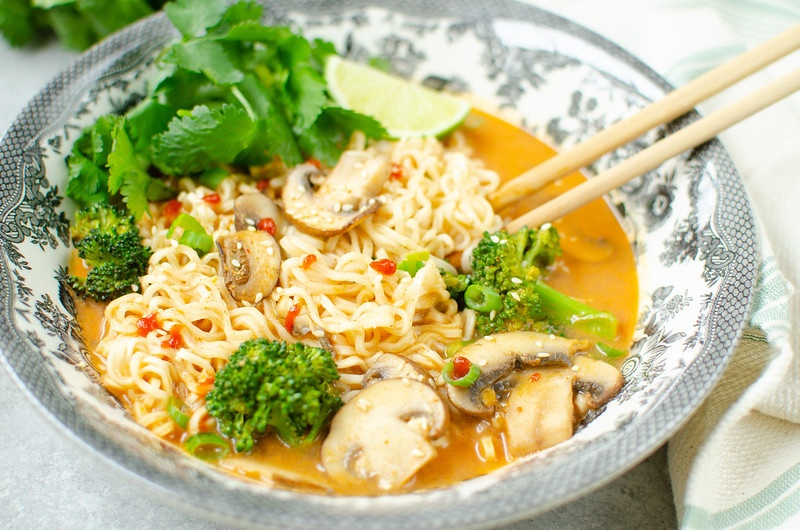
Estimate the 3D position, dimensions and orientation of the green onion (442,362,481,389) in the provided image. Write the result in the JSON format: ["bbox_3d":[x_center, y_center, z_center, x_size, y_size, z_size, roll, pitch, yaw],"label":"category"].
[{"bbox_3d":[0.437,0.766,4.811,0.195,0.201,0.074,31,67,12],"label":"green onion"}]

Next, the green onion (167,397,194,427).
[{"bbox_3d":[-1.523,1.024,4.746,0.044,0.185,0.183,-32,61,-3],"label":"green onion"}]

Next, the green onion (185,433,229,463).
[{"bbox_3d":[-1.282,1.225,4.604,0.212,0.209,0.070,20,109,9],"label":"green onion"}]
